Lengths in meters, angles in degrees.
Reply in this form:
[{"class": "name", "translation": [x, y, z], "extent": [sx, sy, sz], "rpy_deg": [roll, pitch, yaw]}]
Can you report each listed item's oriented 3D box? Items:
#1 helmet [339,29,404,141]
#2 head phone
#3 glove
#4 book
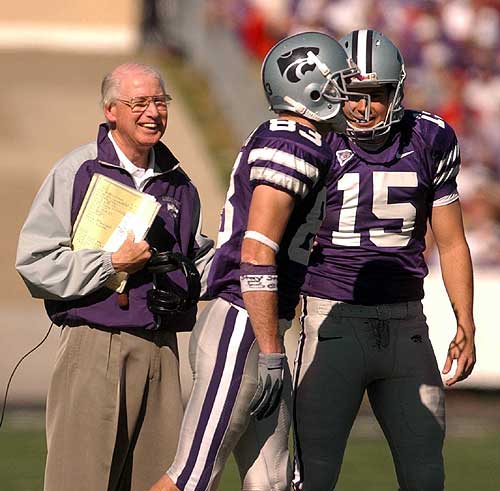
[{"class": "helmet", "translation": [0.562, -0.720, 5.133], "extent": [0.336, 0.436, 0.454], "rpy_deg": [-1, 12, 8]}, {"class": "head phone", "translation": [-0.357, 0.171, 5.108], "extent": [0.239, 0.208, 0.368], "rpy_deg": [-7, 17, -29]}, {"class": "glove", "translation": [0.067, 0.529, 4.377], "extent": [0.127, 0.260, 0.069], "rpy_deg": [3, 4, -11]}, {"class": "book", "translation": [-0.608, -0.046, 5.076], "extent": [0.584, 0.282, 0.614], "rpy_deg": [10, 21, 17]}]
